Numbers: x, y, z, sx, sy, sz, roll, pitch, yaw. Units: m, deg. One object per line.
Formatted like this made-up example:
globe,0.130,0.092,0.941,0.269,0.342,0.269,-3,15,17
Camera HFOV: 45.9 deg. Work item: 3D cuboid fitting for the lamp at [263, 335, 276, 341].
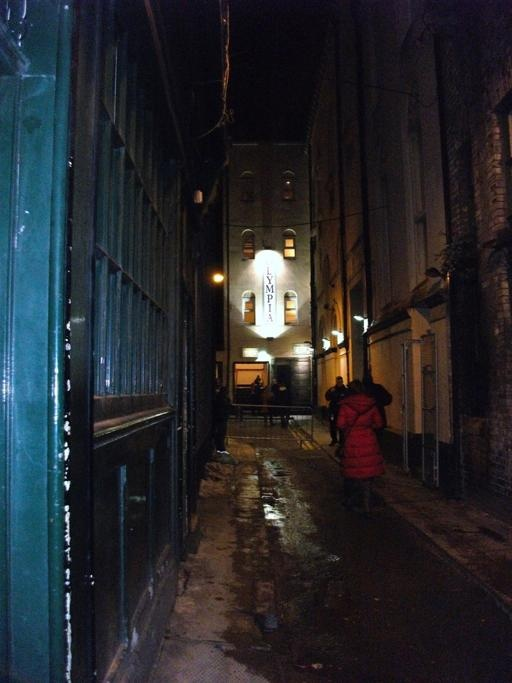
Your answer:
lamp,0.727,-0.162,32.400,0.500,0.287,0.198,-2,-4,12

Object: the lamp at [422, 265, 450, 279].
lamp,2.868,-1.077,9.569,0.264,0.175,0.225,8,5,18

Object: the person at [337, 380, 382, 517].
person,1.403,1.369,8.097,0.568,1.713,1.187,-1,-4,11

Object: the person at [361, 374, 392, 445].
person,2.231,1.278,11.399,0.510,1.645,0.503,-10,31,2

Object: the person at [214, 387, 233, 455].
person,-0.775,1.759,13.835,0.357,1.460,1.538,0,-4,-3

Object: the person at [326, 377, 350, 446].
person,2.003,1.657,14.486,0.561,1.870,0.450,-5,18,-8

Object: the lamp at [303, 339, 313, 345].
lamp,2.765,0.090,32.309,0.540,0.383,0.244,-3,-4,28
